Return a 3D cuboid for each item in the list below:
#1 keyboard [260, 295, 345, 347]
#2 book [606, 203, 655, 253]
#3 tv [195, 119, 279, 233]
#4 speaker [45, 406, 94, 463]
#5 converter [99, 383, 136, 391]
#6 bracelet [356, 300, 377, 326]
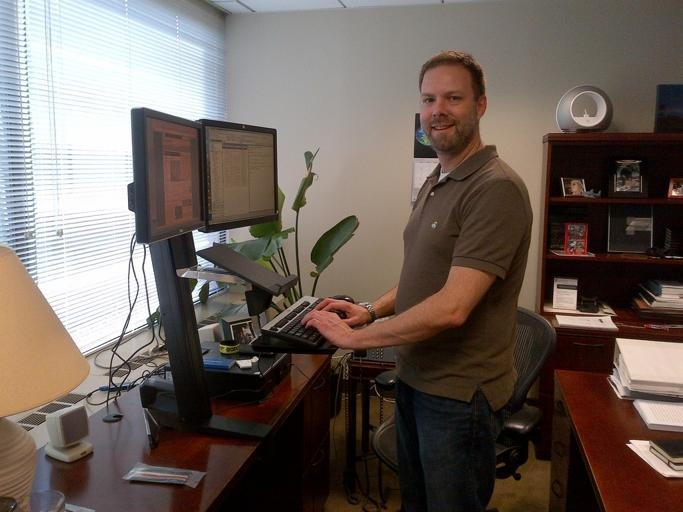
[{"bbox_3d":[-0.142,0.258,1.974,0.225,0.048,0.321,8,21,25],"label":"keyboard"},{"bbox_3d":[2.050,-0.197,3.592,0.276,0.360,0.012,1,24,27],"label":"book"},{"bbox_3d":[-0.423,-0.322,2.041,0.044,0.425,0.578,3,7,21],"label":"tv"},{"bbox_3d":[-0.925,0.589,1.706,0.138,0.151,0.122,0,4,11],"label":"speaker"},{"bbox_3d":[-0.981,0.576,2.219,0.154,0.031,0.084,0,-7,-6],"label":"converter"},{"bbox_3d":[0.120,0.241,2.167,0.079,0.078,0.082,27,-12,-34],"label":"bracelet"}]
